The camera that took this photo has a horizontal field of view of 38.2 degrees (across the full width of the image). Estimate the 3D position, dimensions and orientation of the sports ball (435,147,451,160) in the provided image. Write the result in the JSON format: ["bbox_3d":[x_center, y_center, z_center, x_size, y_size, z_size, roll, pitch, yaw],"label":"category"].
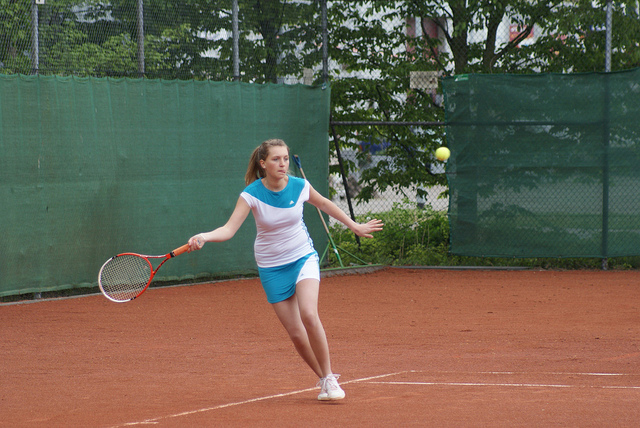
[{"bbox_3d":[1.980,-0.962,15.151,0.194,0.215,0.561,1,14,9],"label":"sports ball"}]
